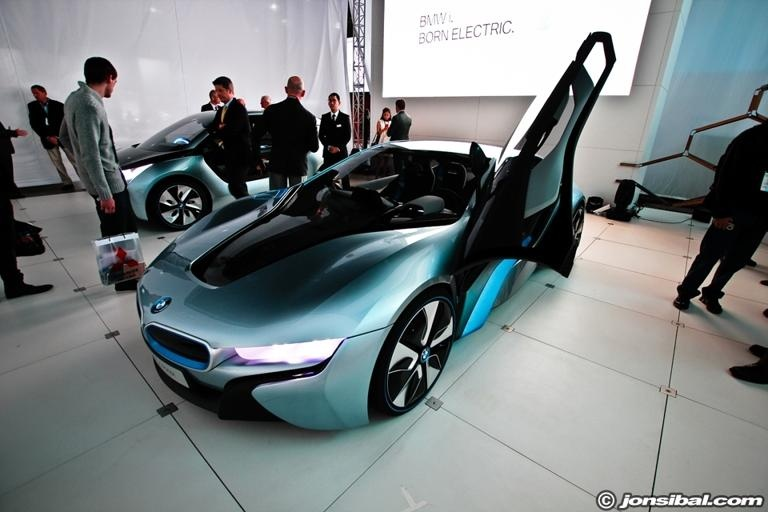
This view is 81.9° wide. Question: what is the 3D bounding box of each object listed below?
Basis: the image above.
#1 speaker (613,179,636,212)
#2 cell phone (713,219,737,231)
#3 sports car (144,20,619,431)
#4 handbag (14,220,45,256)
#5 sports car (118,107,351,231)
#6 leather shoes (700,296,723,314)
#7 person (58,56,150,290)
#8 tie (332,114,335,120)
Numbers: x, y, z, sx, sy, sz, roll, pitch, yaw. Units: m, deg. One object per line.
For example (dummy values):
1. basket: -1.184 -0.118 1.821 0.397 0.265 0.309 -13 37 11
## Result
1. speaker: 3.664 -0.910 6.711 0.283 0.509 0.144 19 18 33
2. cell phone: 3.234 -0.296 4.168 0.134 0.101 0.049 11 23 16
3. sports car: -0.194 -0.282 3.406 3.259 2.540 1.815 -12 32 -26
4. handbag: -3.642 -0.160 4.499 0.099 0.282 0.350 6 6 20
5. sports car: -2.263 -1.179 6.269 2.456 1.132 1.542 -11 30 -31
6. leather shoes: 3.299 0.478 4.458 0.115 0.090 0.219 -16 38 -6
7. person: -2.659 -0.977 4.151 0.491 1.592 0.486 -14 32 -28
8. tie: -0.776 -2.137 6.758 0.059 0.025 0.221 3 30 -6
